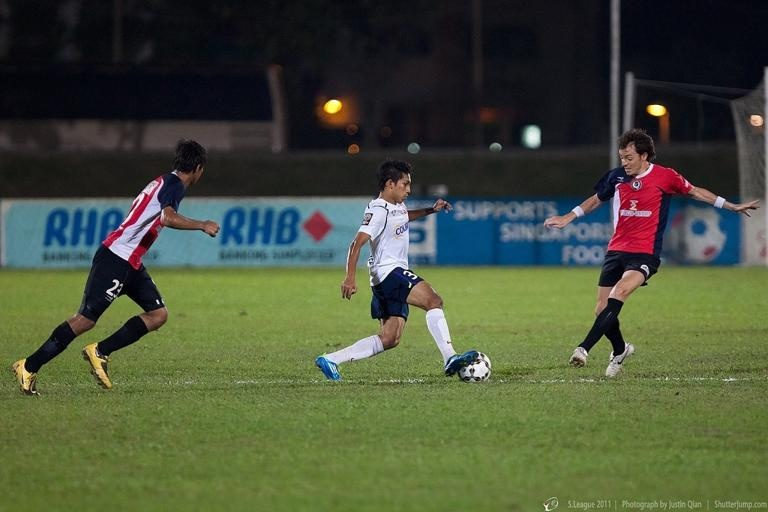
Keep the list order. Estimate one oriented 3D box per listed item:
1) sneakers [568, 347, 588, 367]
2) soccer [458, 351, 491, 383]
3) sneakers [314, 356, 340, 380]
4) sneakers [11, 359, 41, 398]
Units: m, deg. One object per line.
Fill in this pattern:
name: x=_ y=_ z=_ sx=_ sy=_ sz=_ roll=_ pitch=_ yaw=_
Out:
sneakers: x=2.565 y=1.381 z=14.319 sx=0.147 sy=0.173 sz=0.377 roll=8 pitch=-21 yaw=8
soccer: x=1.221 y=1.494 z=14.202 sx=0.399 sy=0.401 sz=0.408 roll=-17 pitch=-7 yaw=28
sneakers: x=-0.749 y=1.455 z=14.206 sx=0.200 sy=0.460 sz=0.169 roll=-29 pitch=31 yaw=12
sneakers: x=-4.534 y=1.547 z=13.818 sx=0.281 sy=0.573 sz=0.210 roll=-17 pitch=8 yaw=18
